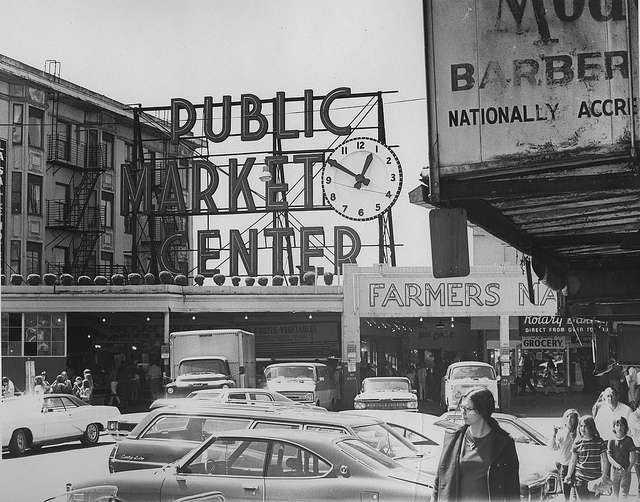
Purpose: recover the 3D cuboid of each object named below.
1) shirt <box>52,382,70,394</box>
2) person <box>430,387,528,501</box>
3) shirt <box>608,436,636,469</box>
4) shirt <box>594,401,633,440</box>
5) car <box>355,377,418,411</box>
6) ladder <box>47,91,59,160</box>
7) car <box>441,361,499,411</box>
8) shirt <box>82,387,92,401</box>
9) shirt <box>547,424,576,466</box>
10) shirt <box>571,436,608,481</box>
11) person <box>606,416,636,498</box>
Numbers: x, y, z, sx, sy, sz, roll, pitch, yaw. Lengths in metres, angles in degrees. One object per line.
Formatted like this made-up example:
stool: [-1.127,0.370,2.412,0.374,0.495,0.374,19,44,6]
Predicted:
shirt: [-8.258,4.435,47.721,0.310,0.625,0.476,-8,4,-29]
person: [3.054,3.782,28.689,1.533,2.117,0.397,-2,-5,1]
shirt: [6.678,4.517,32.819,0.623,0.761,0.276,1,-30,10]
shirt: [6.638,3.873,33.399,0.702,0.625,0.245,-4,-24,43]
car: [2.064,4.556,45.755,1.951,1.374,3.437,-1,-1,-1]
ladder: [-11.944,-5.731,67.072,0.619,3.813,0.745,3,-18,-19]
car: [4.713,4.204,46.821,1.498,1.394,2.855,-1,-14,4]
shirt: [-7.537,4.723,48.464,0.265,0.365,0.373,-2,-18,4]
shirt: [5.435,4.378,33.280,0.617,0.907,0.783,0,-6,-18]
shirt: [5.992,4.679,32.924,0.865,1.138,0.563,-3,-2,3]
person: [6.665,4.593,32.822,0.654,1.728,0.376,-2,-6,9]
